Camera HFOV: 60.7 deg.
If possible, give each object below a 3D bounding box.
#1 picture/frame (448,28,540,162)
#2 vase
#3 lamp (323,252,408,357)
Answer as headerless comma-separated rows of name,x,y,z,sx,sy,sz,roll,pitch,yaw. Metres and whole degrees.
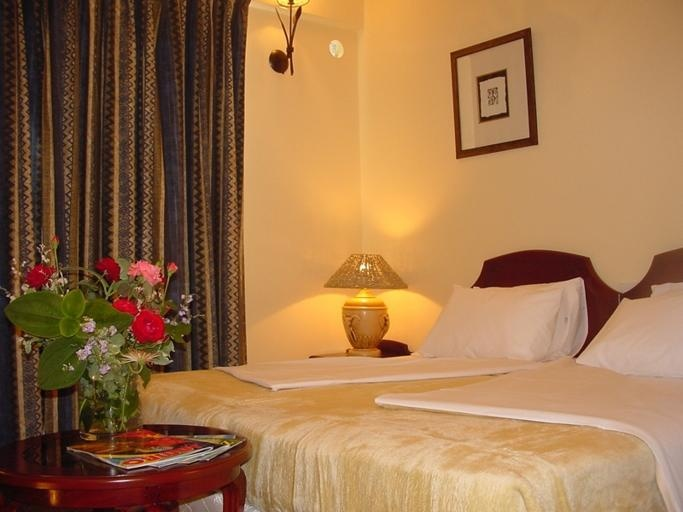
picture/frame,1.012,-1.036,3.780,0.050,0.709,0.774,-6,18,-31
vase,-0.773,0.510,1.905,0.187,0.215,0.192,9,3,-21
lamp,0.195,0.390,4.244,0.621,0.759,0.624,-6,-11,35
